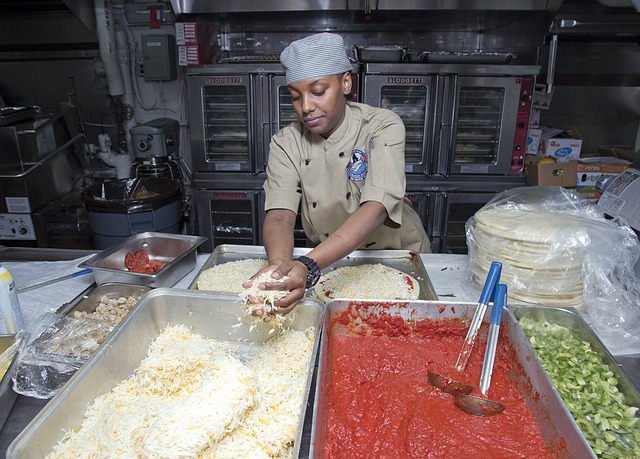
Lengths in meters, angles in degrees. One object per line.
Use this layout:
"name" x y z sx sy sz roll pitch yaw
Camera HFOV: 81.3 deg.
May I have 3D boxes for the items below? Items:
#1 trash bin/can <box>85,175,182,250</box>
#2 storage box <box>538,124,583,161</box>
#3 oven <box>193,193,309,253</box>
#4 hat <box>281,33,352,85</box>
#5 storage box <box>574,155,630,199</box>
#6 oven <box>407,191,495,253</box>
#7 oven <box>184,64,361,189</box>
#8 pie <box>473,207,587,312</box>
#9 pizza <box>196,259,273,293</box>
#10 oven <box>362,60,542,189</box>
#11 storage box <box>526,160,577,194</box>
"trash bin/can" -1.708 -0.167 3.470 0.806 0.538 0.699 4 19 13
"storage box" 2.650 -0.989 4.219 0.531 0.264 0.486 -12 28 -29
"oven" -0.763 -0.115 4.341 1.168 1.166 0.652 0 9 8
"hat" -0.006 -0.929 1.944 0.365 0.190 0.307 -13 37 -24
"storage box" 3.048 -0.490 4.122 0.524 0.363 0.298 1 -5 4
"oven" 1.403 -0.070 4.355 0.859 0.895 0.650 -2 25 -1
"oven" -0.609 -1.074 4.335 1.552 1.402 0.774 -2 2 -7
"pie" 1.004 0.117 1.831 0.463 0.404 0.408 0 18 0
"pizza" -0.492 0.281 2.080 0.346 0.368 0.028 -1 57 6
"oven" 1.361 -1.048 4.260 1.695 1.281 0.982 4 -7 8
"storage box" 2.424 -0.541 3.979 0.436 0.275 0.430 -7 12 -31
